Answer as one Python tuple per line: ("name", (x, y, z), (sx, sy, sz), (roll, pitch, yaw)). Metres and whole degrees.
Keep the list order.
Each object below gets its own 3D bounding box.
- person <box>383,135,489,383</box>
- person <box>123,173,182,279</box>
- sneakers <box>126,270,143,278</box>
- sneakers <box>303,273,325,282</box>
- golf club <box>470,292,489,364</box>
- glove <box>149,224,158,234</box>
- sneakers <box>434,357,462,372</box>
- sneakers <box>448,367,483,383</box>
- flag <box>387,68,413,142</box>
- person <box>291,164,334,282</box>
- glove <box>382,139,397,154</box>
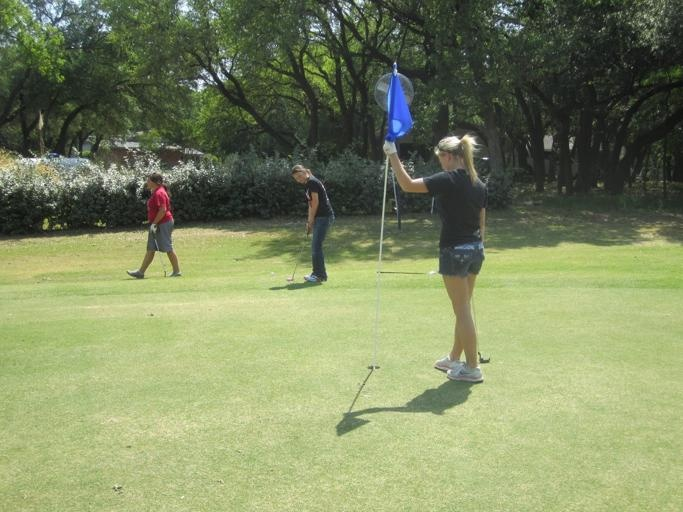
("person", (1.211, 0.020, 9.169), (0.983, 2.794, 0.568), (-1, 4, -2))
("person", (-3.760, -0.653, 16.453), (0.899, 2.041, 1.509), (-2, 4, -12))
("sneakers", (-4.048, 0.339, 15.810), (0.140, 0.137, 0.296), (-11, -7, 27))
("sneakers", (-0.496, 0.385, 15.034), (0.290, 0.126, 0.162), (2, 2, -9))
("golf club", (1.765, 0.936, 10.277), (0.242, 0.938, 0.182), (-15, 46, 6))
("glove", (-3.717, -0.568, 15.886), (0.113, 0.151, 0.157), (24, 47, 1))
("sneakers", (1.244, 1.247, 9.379), (0.298, 0.143, 0.132), (0, 1, 36))
("sneakers", (1.408, 1.335, 9.152), (0.350, 0.167, 0.170), (4, 3, 10))
("flag", (0.681, -1.805, 9.583), (0.298, 0.913, 0.721), (-1, 4, 5))
("person", (-0.510, -0.649, 15.317), (0.688, 2.181, 1.427), (-1, 4, -2))
("glove", (0.563, -1.255, 9.229), (0.161, 0.175, 0.161), (-7, 9, 6))
